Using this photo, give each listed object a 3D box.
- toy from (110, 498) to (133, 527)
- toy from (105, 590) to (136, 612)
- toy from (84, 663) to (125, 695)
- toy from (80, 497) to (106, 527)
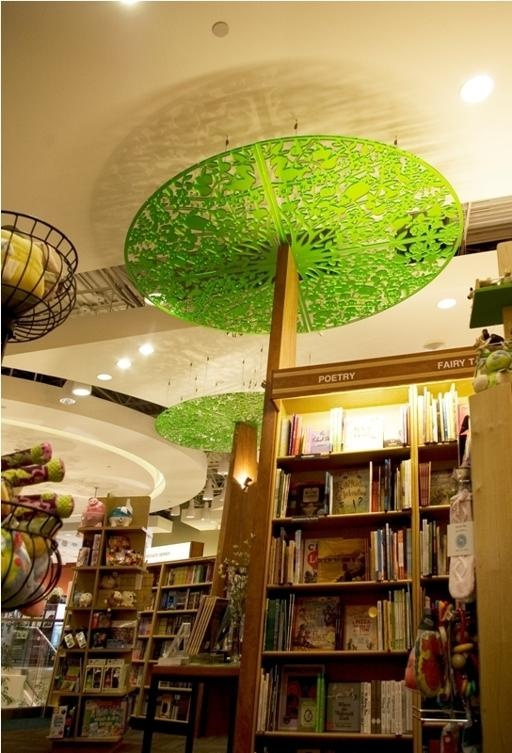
[{"bbox_3d":[-1.691,1.778,6.659,0.277,0.390,0.258,-5,-36,10],"label":"toy"},{"bbox_3d":[-1.614,2.654,6.195,0.229,0.166,0.279,26,-14,-24],"label":"toy"},{"bbox_3d":[-1.682,3.408,5.822,0.335,0.299,0.122,0,-38,2],"label":"toy"},{"bbox_3d":[-2.163,1.837,6.905,0.316,0.427,0.423,1,-26,-3],"label":"toy"}]
